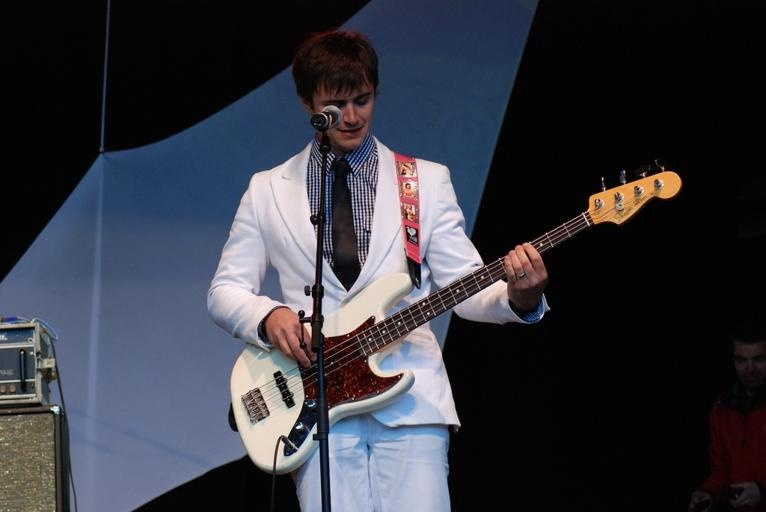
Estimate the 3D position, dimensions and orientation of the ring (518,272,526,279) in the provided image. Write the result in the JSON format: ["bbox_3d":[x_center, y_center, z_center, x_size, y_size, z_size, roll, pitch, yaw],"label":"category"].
[{"bbox_3d":[0.620,0.092,3.837,0.033,0.027,0.015,-1,1,13],"label":"ring"}]

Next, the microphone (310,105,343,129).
[{"bbox_3d":[-0.240,-0.609,3.796,0.089,0.100,0.132,-4,14,25],"label":"microphone"}]

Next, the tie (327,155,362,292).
[{"bbox_3d":[-0.192,-0.157,3.977,0.189,0.551,0.056,-3,-7,8],"label":"tie"}]
